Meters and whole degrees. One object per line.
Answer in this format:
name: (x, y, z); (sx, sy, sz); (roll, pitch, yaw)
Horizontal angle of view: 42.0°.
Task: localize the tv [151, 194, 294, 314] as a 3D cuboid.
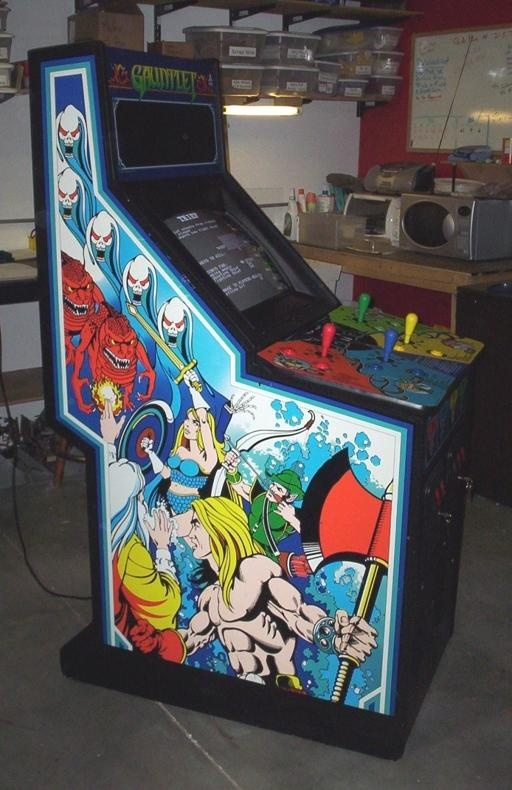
tv: (-0.055, -0.332, 1.578); (0.209, 0.214, 0.327); (7, 16, 22)
